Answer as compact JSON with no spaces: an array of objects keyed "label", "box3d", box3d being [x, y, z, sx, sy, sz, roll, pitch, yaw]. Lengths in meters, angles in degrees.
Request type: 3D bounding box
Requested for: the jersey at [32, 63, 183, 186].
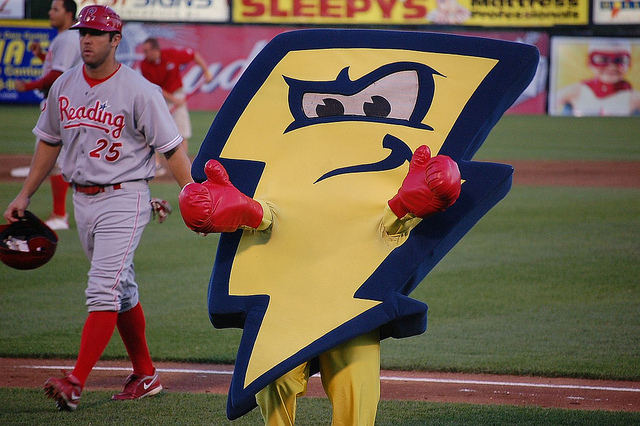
[{"label":"jersey","box3d":[-2.976,-1.225,19.766,2.381,1.720,0.976,3,6,8]}]
